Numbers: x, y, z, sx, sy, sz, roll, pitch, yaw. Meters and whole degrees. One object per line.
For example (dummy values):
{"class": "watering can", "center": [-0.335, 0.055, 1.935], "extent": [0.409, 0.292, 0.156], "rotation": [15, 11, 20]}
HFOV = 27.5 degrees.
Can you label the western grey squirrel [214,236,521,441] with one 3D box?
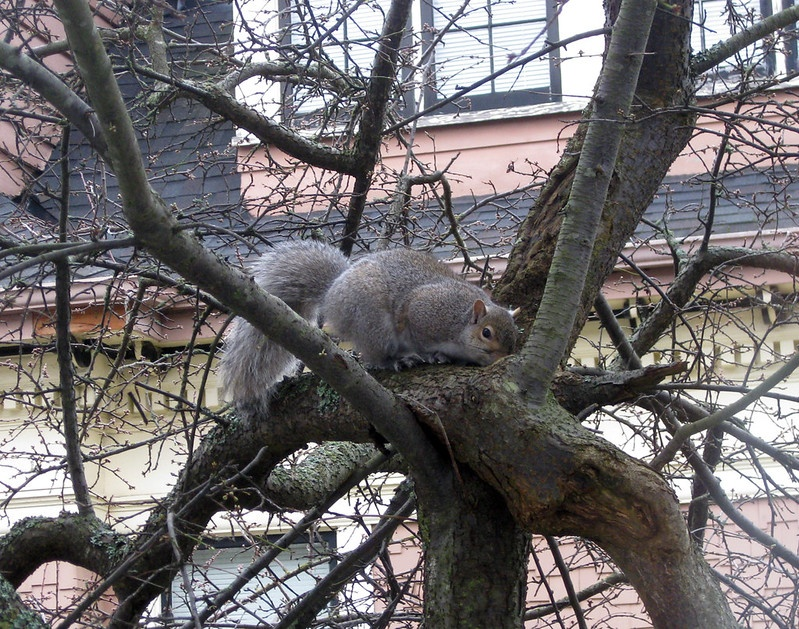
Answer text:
{"class": "western grey squirrel", "center": [-0.250, -0.056, 11.075], "extent": [2.053, 0.660, 0.841], "rotation": [-1, -89, 12]}
